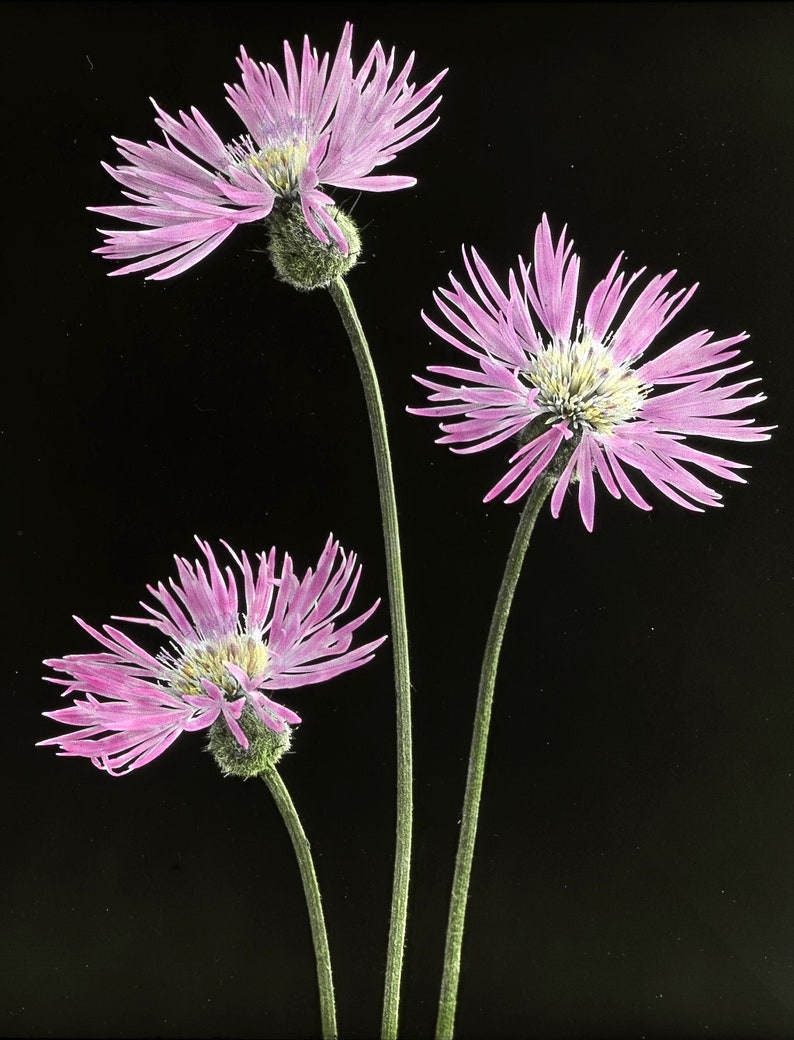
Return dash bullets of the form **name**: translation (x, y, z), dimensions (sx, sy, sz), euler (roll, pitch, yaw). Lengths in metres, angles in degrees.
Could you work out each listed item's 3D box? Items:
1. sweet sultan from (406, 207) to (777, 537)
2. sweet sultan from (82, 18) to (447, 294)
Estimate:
- **sweet sultan**: translation (0.151, -0.098, 1.258), dimensions (0.364, 0.354, 0.148), euler (24, -28, -1)
- **sweet sultan**: translation (-0.116, -0.386, 1.217), dimensions (0.318, 0.337, 0.116), euler (-6, -86, 25)
